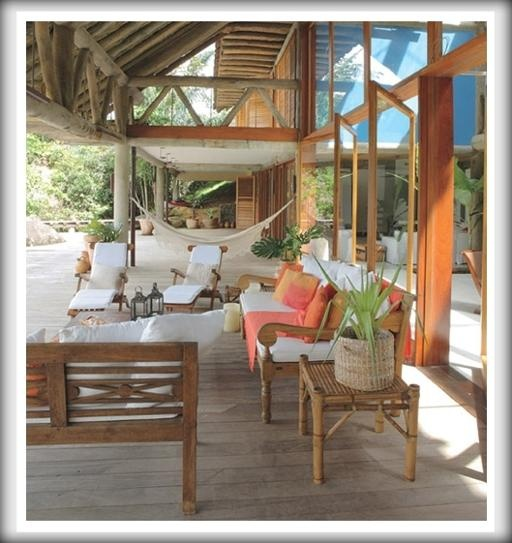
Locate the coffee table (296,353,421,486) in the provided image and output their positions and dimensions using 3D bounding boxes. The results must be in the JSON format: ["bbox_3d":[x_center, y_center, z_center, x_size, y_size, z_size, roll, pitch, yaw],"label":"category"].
[{"bbox_3d":[0.431,0.671,2.559,0.587,0.421,0.543,0,4,-7],"label":"coffee table"}]

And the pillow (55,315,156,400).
[{"bbox_3d":[-0.690,0.292,2.360,0.349,0.307,0.097,0,-22,-32],"label":"pillow"}]

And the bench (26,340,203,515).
[{"bbox_3d":[-0.579,0.580,2.278,0.685,0.435,0.760,0,-2,-5],"label":"bench"}]

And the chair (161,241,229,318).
[{"bbox_3d":[-0.672,-0.033,6.182,0.513,0.625,0.947,1,6,13],"label":"chair"}]

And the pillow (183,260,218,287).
[{"bbox_3d":[-0.602,0.036,5.990,0.275,0.303,0.326,4,-15,6],"label":"pillow"}]

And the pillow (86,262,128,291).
[{"bbox_3d":[-1.497,0.080,5.422,0.396,0.256,0.444,-3,10,-14],"label":"pillow"}]
